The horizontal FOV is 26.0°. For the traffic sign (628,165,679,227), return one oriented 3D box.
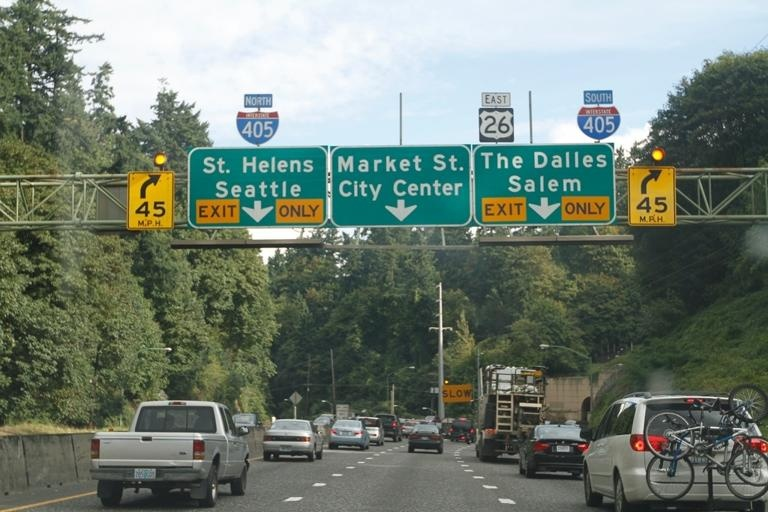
[{"bbox_3d":[14.317,-3.323,89.093,2.510,3.211,0.714,-1,-6,-7],"label":"traffic sign"}]

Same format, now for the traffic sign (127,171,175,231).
[{"bbox_3d":[-12.553,-3.098,89.785,2.567,3.194,0.428,-3,-6,6],"label":"traffic sign"}]

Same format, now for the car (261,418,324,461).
[{"bbox_3d":[-5.313,10.874,100.248,2.969,2.479,6.707,1,-4,4],"label":"car"}]

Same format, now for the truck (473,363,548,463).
[{"bbox_3d":[7.339,9.642,105.766,4.232,5.498,9.002,-3,-3,-11],"label":"truck"}]
